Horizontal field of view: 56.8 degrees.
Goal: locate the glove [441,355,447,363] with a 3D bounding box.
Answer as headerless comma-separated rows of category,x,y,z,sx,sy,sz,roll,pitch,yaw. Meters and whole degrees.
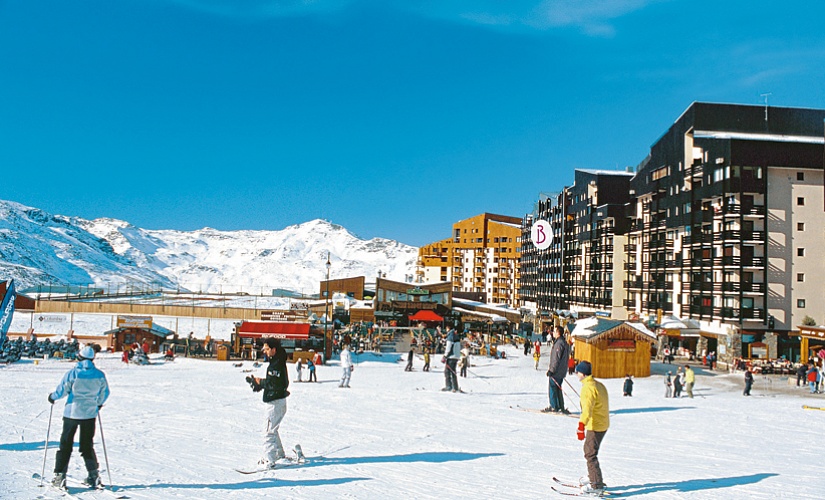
glove,2.193,7.688,54.092,0.296,0.561,0.805,9,-16,-44

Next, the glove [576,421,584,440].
glove,8.999,9.569,41.033,0.327,0.920,0.564,0,-10,16

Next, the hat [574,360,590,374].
hat,9.148,6.304,41.389,0.695,0.689,0.905,-2,0,-43

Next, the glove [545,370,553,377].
glove,8.568,7.636,47.762,0.438,0.387,1.119,1,-9,9
